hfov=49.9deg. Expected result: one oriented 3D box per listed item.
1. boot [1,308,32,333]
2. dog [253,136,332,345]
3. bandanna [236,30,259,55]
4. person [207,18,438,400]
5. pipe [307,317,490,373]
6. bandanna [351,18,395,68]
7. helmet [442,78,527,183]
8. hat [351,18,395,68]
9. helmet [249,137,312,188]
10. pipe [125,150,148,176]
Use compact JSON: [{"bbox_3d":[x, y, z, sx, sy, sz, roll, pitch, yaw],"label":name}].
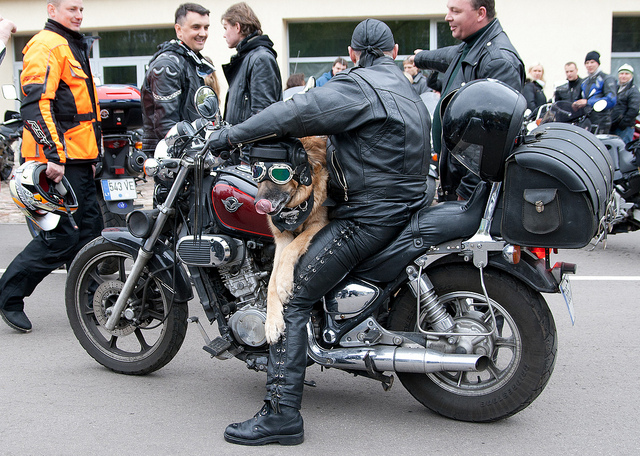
[{"bbox_3d":[-2.715,0.826,6.235,0.342,0.157,0.133,18,13,-4],"label":"boot"},{"bbox_3d":[-0.160,-0.005,4.576,0.455,1.425,0.514,4,10,26],"label":"dog"},{"bbox_3d":[-0.706,-1.800,6.662,0.225,0.225,0.167,0,13,0],"label":"bandanna"},{"bbox_3d":[0.128,-0.146,4.542,1.292,2.382,0.471,-5,14,-22],"label":"person"},{"bbox_3d":[0.506,0.804,4.521,1.187,0.333,0.132,3,13,11],"label":"pipe"},{"bbox_3d":[0.373,-1.237,4.608,0.261,0.343,0.324,8,16,20],"label":"bandanna"},{"bbox_3d":[1.104,-0.650,4.502,0.440,0.718,0.429,19,23,34],"label":"helmet"},{"bbox_3d":[0.350,-1.278,4.697,0.278,0.339,0.335,-5,24,2],"label":"hat"},{"bbox_3d":[-0.246,-0.474,4.349,0.437,0.354,0.290,8,18,7],"label":"helmet"},{"bbox_3d":[-2.140,-0.731,7.913,0.212,0.314,0.415,-4,14,-18],"label":"pipe"}]
